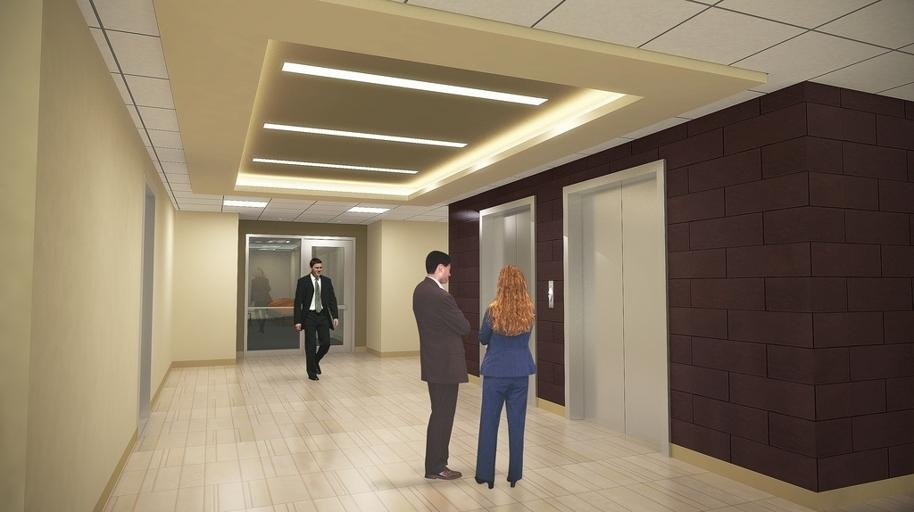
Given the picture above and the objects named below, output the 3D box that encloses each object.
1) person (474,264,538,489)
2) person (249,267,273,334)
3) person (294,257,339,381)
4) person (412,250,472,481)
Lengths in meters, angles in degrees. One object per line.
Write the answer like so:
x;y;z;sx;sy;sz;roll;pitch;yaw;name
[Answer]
0.529;1.342;5.781;0.641;2.462;0.282;0;1;2;person
-4.958;1.105;13.315;0.506;1.619;0.112;0;2;-18;person
-2.924;1.263;10.900;0.841;2.393;0.857;0;1;-16;person
-0.189;1.253;6.033;0.612;2.604;0.469;0;1;-5;person
